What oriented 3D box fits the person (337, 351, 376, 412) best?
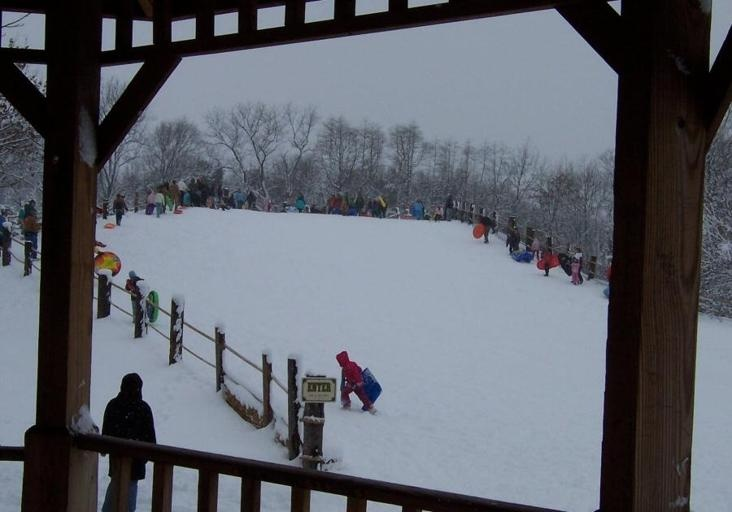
[{"bbox_3d":[-0.196,2.001,11.662,0.528,1.024,0.508,-12,2,3],"label":"person"}]
